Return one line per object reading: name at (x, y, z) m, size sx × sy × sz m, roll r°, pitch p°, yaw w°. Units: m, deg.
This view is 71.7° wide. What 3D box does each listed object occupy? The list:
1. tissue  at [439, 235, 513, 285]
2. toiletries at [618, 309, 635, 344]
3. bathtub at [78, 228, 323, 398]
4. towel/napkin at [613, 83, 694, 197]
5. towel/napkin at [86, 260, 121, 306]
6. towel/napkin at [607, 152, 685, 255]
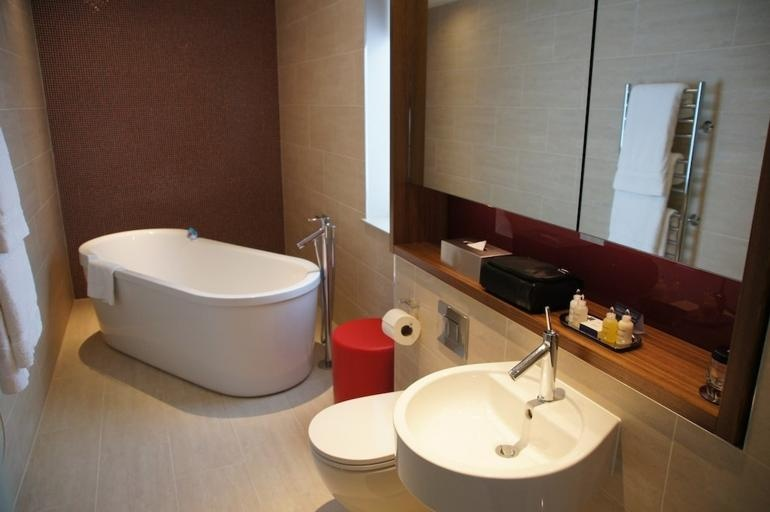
tissue  at (0.421, -0.062, 2.503) m, size 0.184 × 0.161 × 0.342 m, roll -9°, pitch 20°, yaw -28°
toiletries at (0.877, 0.262, 1.941) m, size 0.060 × 0.104 × 0.087 m, roll 12°, pitch 26°, yaw 27°
bathtub at (-1.299, 0.323, 3.813) m, size 1.785 × 0.717 × 0.928 m, roll 13°, pitch 26°, yaw 28°
towel/napkin at (0.873, -0.389, 1.773) m, size 0.186 × 0.356 × 0.090 m, roll 18°, pitch 29°, yaw 37°
towel/napkin at (-1.905, 0.180, 3.614) m, size 0.242 × 0.288 × 0.064 m, roll 18°, pitch 26°, yaw 27°
towel/napkin at (0.841, -0.179, 1.759) m, size 0.075 × 0.288 × 0.207 m, roll -8°, pitch 20°, yaw -43°
